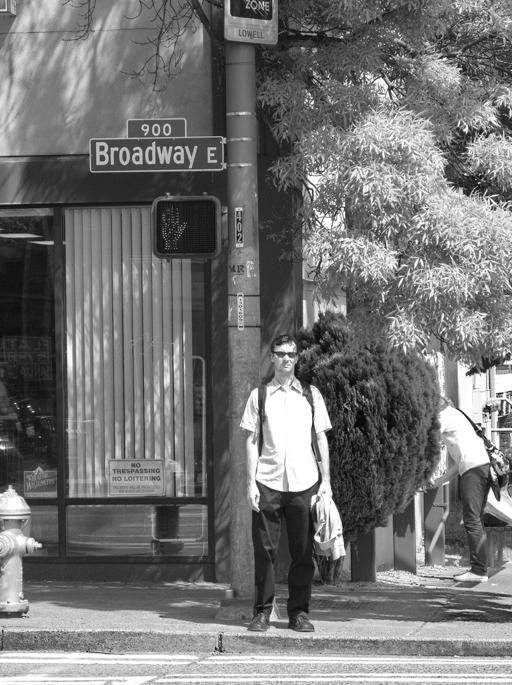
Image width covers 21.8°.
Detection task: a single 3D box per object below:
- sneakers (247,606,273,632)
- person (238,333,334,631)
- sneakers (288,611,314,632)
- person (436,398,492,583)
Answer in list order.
[{"bbox_3d":[0.022,1.795,8.614,0.140,0.145,0.337,1,0,4],"label":"sneakers"},{"bbox_3d":[0.197,0.963,8.727,0.502,2.201,0.477,-2,26,-4],"label":"person"},{"bbox_3d":[0.291,1.809,8.589,0.170,0.128,0.229,1,0,2],"label":"sneakers"},{"bbox_3d":[1.649,1.148,10.394,0.407,1.435,0.719,1,0,-2],"label":"person"}]
